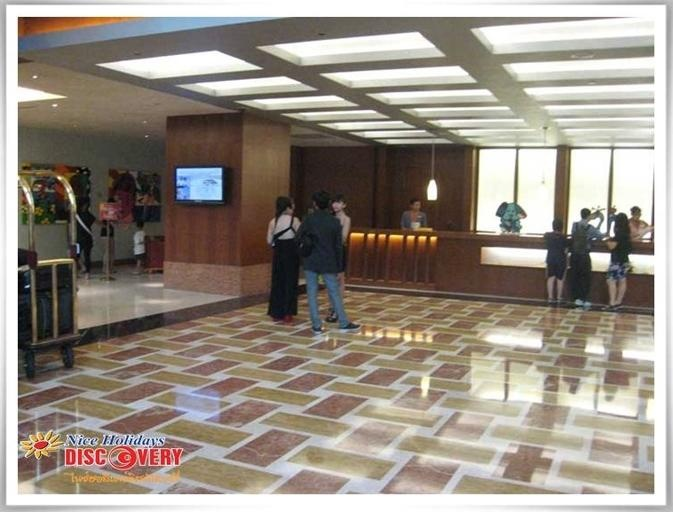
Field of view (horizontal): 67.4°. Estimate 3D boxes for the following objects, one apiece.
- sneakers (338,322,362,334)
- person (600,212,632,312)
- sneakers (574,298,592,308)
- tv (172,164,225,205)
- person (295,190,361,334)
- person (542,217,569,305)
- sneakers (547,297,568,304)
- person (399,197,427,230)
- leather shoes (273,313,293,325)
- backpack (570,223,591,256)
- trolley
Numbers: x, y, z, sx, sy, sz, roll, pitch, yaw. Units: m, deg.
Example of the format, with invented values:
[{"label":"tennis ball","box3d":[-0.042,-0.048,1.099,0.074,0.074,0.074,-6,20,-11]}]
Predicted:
[{"label":"sneakers","box3d":[0.174,0.923,6.571,0.283,0.108,0.111,-1,3,-6]},{"label":"person","box3d":[4.383,0.097,7.834,0.325,1.567,1.062,5,8,29]},{"label":"sneakers","box3d":[4.085,0.785,8.388,0.199,0.108,0.067,11,-1,33]},{"label":"tv","box3d":[-2.426,-1.293,9.041,0.777,0.523,0.081,1,3,17]},{"label":"person","box3d":[-0.120,0.078,6.399,0.739,1.789,0.570,1,7,2]},{"label":"person","box3d":[3.731,0.089,8.609,0.385,1.435,0.307,4,7,24]},{"label":"sneakers","box3d":[3.771,0.753,8.662,0.336,0.137,0.109,-1,3,12]},{"label":"person","box3d":[1.618,-0.899,10.603,0.469,0.602,1.418,2,7,11]},{"label":"leather shoes","box3d":[-0.716,0.843,6.941,0.312,0.136,0.115,6,7,23]},{"label":"backpack","box3d":[3.955,-0.289,8.164,0.291,0.546,0.400,4,7,26]},{"label":"trolley","box3d":[-2.859,0.116,5.017,0.546,1.947,0.858,-3,8,-30]}]
